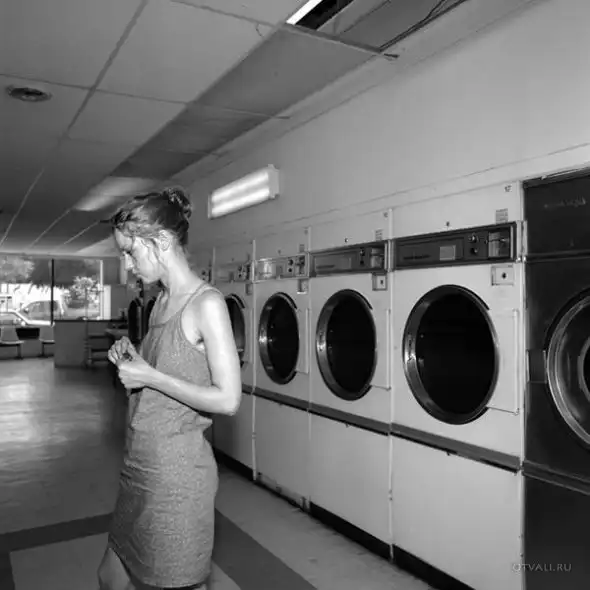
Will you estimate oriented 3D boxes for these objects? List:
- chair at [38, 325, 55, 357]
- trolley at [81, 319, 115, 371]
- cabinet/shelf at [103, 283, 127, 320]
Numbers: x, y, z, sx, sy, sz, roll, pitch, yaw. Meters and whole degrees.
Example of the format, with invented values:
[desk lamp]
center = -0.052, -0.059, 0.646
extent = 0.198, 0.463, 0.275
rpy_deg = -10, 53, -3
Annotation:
[chair]
center = -6.792, 1.242, 13.206
extent = 0.357, 0.819, 0.617
rpy_deg = 0, -1, -31
[trolley]
center = -4.544, 1.152, 10.788
extent = 0.824, 1.557, 1.030
rpy_deg = 0, 1, -17
[cabinet/shelf]
center = -4.671, 0.153, 12.643
extent = 0.302, 1.165, 0.871
rpy_deg = 2, -1, -28
